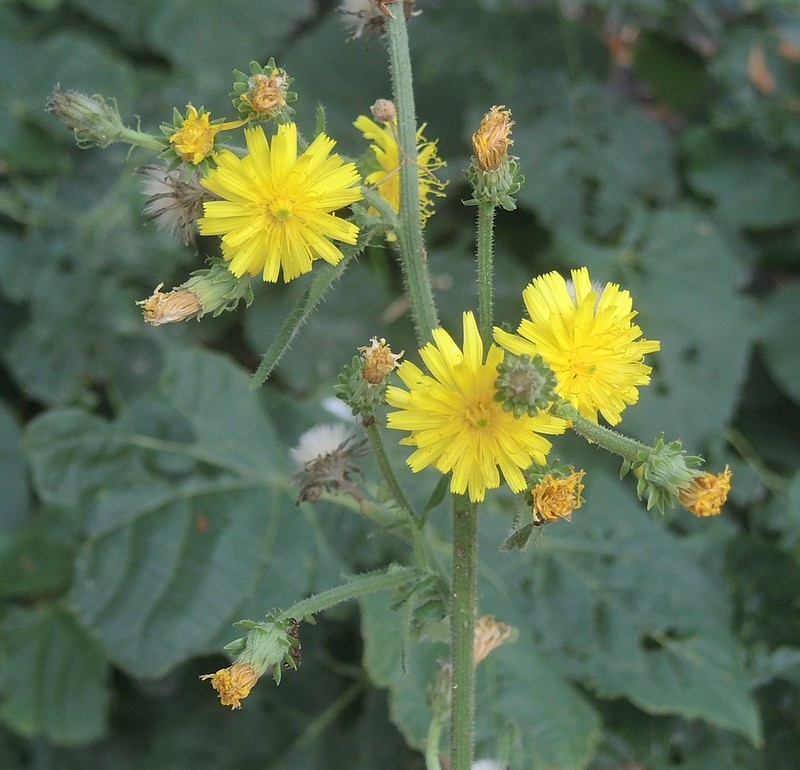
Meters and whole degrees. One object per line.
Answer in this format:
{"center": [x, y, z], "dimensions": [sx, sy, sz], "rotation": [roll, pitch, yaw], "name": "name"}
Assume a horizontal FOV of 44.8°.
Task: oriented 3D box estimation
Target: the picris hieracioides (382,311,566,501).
{"center": [0.067, 0.021, 0.855], "dimensions": [0.196, 0.181, 0.051], "rotation": [14, 109, 19], "name": "picris hieracioides"}

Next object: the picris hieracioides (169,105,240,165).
{"center": [-0.173, -0.224, 0.874], "dimensions": [0.076, 0.032, 0.048], "rotation": [7, 72, 6], "name": "picris hieracioides"}

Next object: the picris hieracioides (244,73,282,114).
{"center": [-0.120, -0.256, 0.844], "dimensions": [0.037, 0.022, 0.036], "rotation": [-1, 76, 2], "name": "picris hieracioides"}

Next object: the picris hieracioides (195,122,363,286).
{"center": [-0.113, -0.164, 0.866], "dimensions": [0.149, 0.135, 0.039], "rotation": [-4, 73, 31], "name": "picris hieracioides"}

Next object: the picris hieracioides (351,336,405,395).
{"center": [-0.019, -0.021, 0.883], "dimensions": [0.054, 0.024, 0.040], "rotation": [2, 109, 18], "name": "picris hieracioides"}
